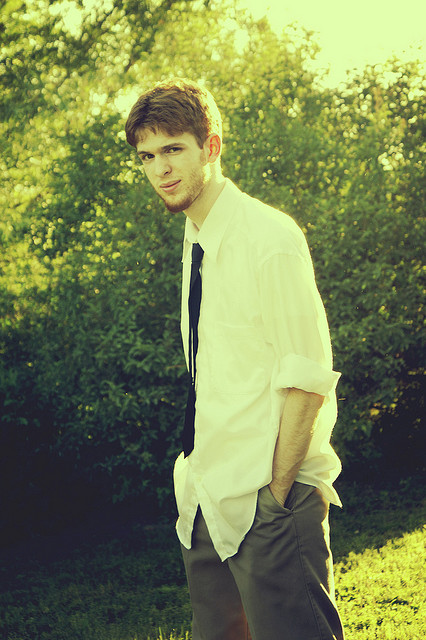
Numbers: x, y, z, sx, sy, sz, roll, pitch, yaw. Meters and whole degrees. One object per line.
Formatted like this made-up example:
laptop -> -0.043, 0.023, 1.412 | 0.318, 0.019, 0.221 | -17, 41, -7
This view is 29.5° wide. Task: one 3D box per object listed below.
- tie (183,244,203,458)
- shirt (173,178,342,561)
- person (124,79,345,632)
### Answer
tie -> -0.078, 0.102, 3.076 | 0.103, 0.723, 0.055 | -5, -12, 29
shirt -> 0.115, 0.159, 3.028 | 0.715, 1.403, 0.224 | -11, -7, 32
person -> 0.101, 0.128, 3.052 | 0.649, 2.123, 0.463 | -7, -6, -1
